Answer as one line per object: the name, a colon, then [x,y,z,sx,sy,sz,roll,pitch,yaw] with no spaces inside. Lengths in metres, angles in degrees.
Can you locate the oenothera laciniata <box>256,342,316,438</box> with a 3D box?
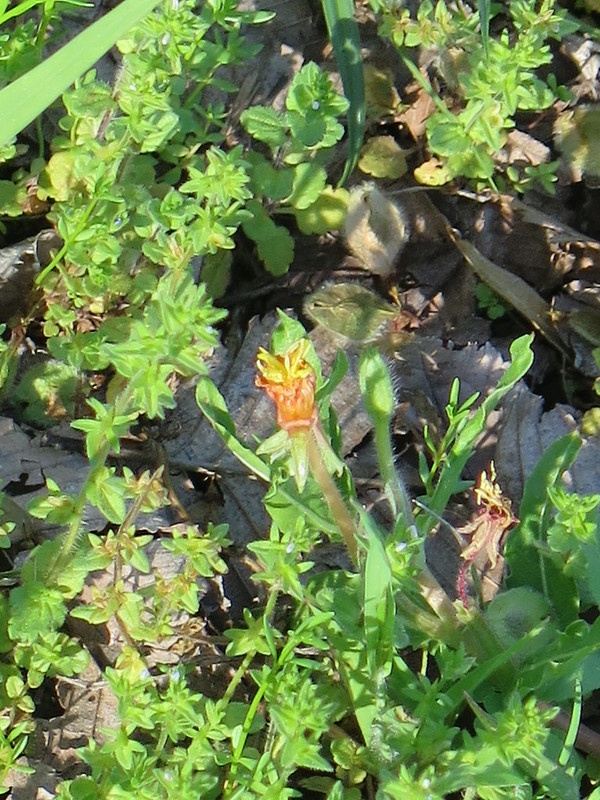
oenothera laciniata: [-0.023,-0.024,1.467,0.102,0.144,0.112,-11,43,8]
